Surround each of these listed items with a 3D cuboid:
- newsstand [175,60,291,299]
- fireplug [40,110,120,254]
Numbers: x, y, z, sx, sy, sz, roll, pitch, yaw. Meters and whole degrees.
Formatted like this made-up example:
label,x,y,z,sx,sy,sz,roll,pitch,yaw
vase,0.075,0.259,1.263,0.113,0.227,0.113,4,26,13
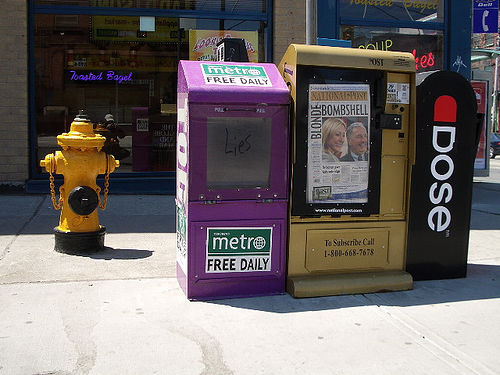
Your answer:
label,x,y,z,sx,sy,sz,roll,pitch,yaw
newsstand,-0.146,-0.045,5.911,1.119,2.380,0.573,1,11,-1
fireplug,-2.219,-0.057,7.373,1.092,1.773,0.742,0,6,-23
